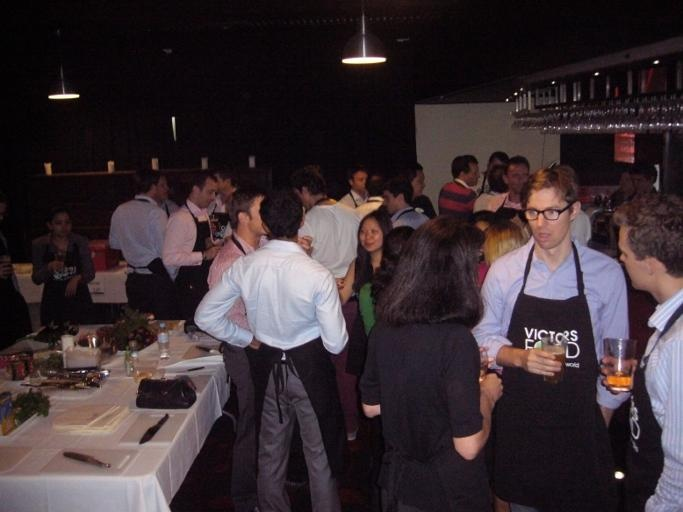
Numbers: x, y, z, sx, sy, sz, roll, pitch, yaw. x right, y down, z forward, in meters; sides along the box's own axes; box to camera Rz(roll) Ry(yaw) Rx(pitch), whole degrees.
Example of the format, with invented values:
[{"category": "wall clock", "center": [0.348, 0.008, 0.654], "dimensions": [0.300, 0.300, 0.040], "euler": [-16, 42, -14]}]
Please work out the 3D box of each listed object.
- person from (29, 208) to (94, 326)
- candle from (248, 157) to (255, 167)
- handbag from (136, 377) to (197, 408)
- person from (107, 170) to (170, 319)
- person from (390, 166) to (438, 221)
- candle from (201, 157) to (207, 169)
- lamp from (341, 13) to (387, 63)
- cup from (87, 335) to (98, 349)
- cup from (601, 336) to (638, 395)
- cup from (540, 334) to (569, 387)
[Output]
[{"category": "person", "center": [-2.457, 0.112, 4.703], "dimensions": [0.470, 1.033, 0.338], "euler": [-5, 8, -23]}, {"category": "candle", "center": [-1.339, -1.404, 7.950], "dimensions": [0.110, 0.116, 0.206], "euler": [-11, 15, -2]}, {"category": "handbag", "center": [-0.946, 0.732, 2.839], "dimensions": [0.310, 0.159, 0.139], "euler": [-3, -1, 11]}, {"category": "person", "center": [-1.738, -0.098, 4.650], "dimensions": [0.434, 1.292, 0.419], "euler": [-5, 8, -24]}, {"category": "person", "center": [0.788, -0.674, 6.118], "dimensions": [0.392, 0.733, 0.835], "euler": [-1, -1, 20]}, {"category": "candle", "center": [-2.121, -1.445, 8.245], "dimensions": [0.092, 0.189, 0.429], "euler": [-4, 7, -14]}, {"category": "lamp", "center": [0.221, -2.057, 5.111], "dimensions": [0.373, 0.420, 0.382], "euler": [-2, 7, 1]}, {"category": "cup", "center": [-1.539, 0.533, 3.284], "dimensions": [0.059, 0.101, 0.062], "euler": [1, 3, 0]}, {"category": "cup", "center": [1.144, 0.440, 2.181], "dimensions": [0.129, 0.208, 0.129], "euler": [1, -2, 0]}, {"category": "cup", "center": [0.900, 0.441, 2.242], "dimensions": [0.104, 0.216, 0.149], "euler": [1, 8, 22]}]
